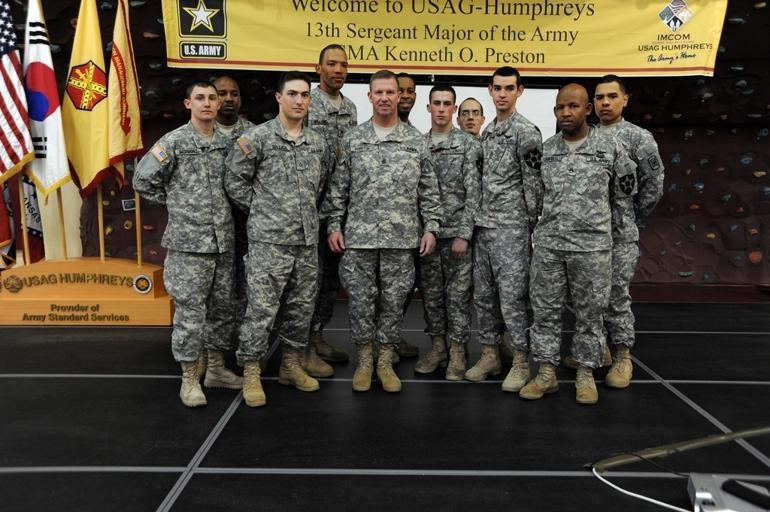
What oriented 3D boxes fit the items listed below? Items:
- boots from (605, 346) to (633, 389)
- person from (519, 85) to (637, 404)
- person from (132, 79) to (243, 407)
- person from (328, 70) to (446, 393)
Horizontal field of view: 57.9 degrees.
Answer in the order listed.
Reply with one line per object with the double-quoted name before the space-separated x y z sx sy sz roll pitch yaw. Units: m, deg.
"boots" 1.745 0.840 5.152 0.146 0.154 0.409 0 4 27
"person" 1.341 -0.077 4.798 0.627 2.165 0.508 4 14 16
"person" -1.293 -0.085 4.801 0.627 2.178 0.570 -8 16 -31
"person" 0.013 -0.182 5.010 0.865 2.251 0.580 -3 14 -12
